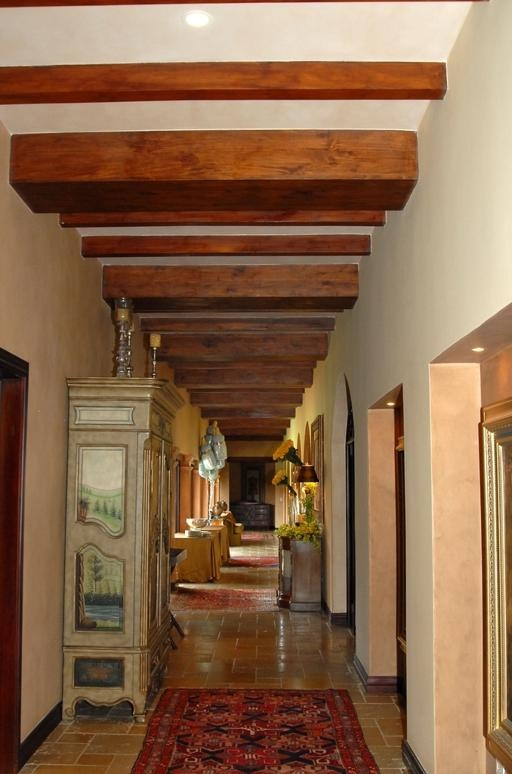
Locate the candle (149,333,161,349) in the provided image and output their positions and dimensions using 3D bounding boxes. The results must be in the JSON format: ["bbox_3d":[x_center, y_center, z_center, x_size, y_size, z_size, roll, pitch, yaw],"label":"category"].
[{"bbox_3d":[-0.833,-0.381,5.273,0.061,0.145,0.203,2,-9,-5],"label":"candle"}]

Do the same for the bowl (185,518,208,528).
[{"bbox_3d":[-1.013,2.197,10.289,0.392,0.203,0.407,-1,-11,0],"label":"bowl"}]

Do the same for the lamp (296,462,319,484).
[{"bbox_3d":[0.683,1.176,8.751,0.233,0.212,0.269,1,0,4],"label":"lamp"}]

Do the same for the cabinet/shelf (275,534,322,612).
[{"bbox_3d":[0.523,2.505,8.613,0.434,0.889,0.866,4,-9,-10],"label":"cabinet/shelf"}]

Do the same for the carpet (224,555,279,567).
[{"bbox_3d":[-0.087,3.688,13.471,0.986,0.021,2.163,1,-9,4],"label":"carpet"}]

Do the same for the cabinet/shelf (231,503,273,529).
[{"bbox_3d":[-0.127,5.038,24.852,1.605,1.035,0.686,1,-9,-1],"label":"cabinet/shelf"}]
